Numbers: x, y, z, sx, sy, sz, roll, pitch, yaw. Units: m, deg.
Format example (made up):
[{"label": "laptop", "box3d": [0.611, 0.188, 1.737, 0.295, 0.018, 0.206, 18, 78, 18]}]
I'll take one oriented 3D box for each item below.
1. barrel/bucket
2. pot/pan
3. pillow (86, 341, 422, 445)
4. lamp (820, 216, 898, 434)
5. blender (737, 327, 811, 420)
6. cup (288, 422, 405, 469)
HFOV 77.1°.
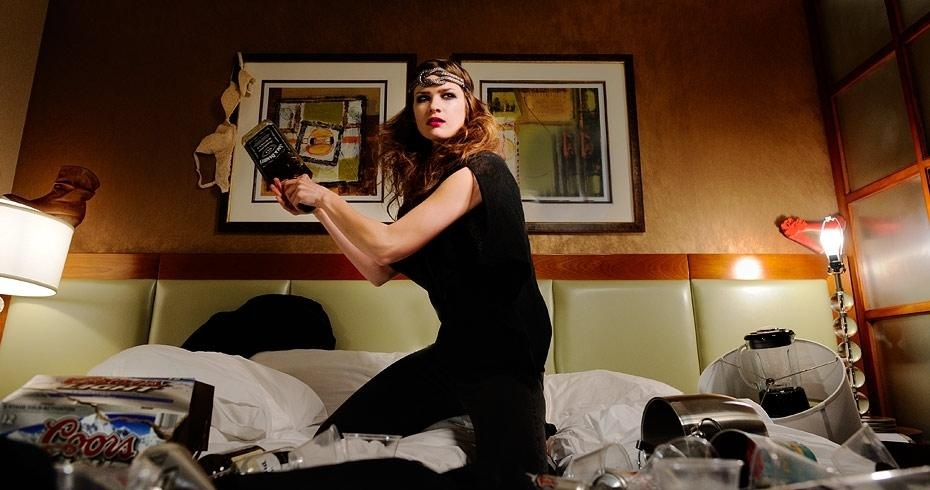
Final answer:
[{"label": "barrel/bucket", "box3d": [1.180, 0.895, 2.905, 0.393, 0.377, 0.370, -3, 12, 1]}, {"label": "pot/pan", "box3d": [1.146, 0.841, 2.971, 0.602, 0.338, 0.393, -6, 8, -21]}, {"label": "pillow", "box3d": [-1.274, 0.806, 3.281, 1.091, 0.262, 0.796, -1, -4, 2]}, {"label": "lamp", "box3d": [2.668, 0.470, 4.025, 0.352, 1.444, 0.638, -2, -12, 29]}, {"label": "blender", "box3d": [1.856, 0.757, 3.489, 0.367, 0.507, 0.216, 1, -11, 16]}, {"label": "cup", "box3d": [-0.547, 0.887, 2.666, 0.361, 0.109, 0.206, -1, -10, -11]}]
